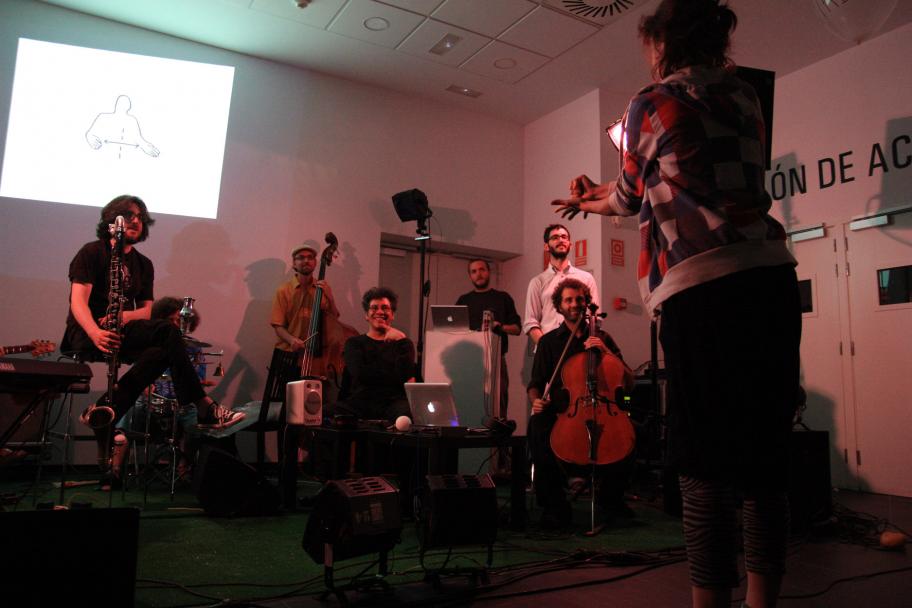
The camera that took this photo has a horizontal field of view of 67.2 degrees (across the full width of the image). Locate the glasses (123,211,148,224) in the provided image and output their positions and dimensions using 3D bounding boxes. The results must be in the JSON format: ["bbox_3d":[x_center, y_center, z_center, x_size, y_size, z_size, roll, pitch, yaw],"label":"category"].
[{"bbox_3d":[-2.188,-0.596,4.690,0.129,0.063,0.168,-2,-2,-19],"label":"glasses"}]

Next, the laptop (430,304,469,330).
[{"bbox_3d":[-0.057,0.125,6.484,0.342,0.227,0.193,1,-2,-8],"label":"laptop"}]

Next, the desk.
[{"bbox_3d":[-0.243,1.151,4.755,0.988,0.698,1.186,3,-3,-42],"label":"desk"}]

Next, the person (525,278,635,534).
[{"bbox_3d":[0.853,0.667,5.109,0.744,1.748,0.567,4,-21,-10],"label":"person"}]

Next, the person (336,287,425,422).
[{"bbox_3d":[-0.629,0.377,5.545,0.606,1.030,0.467,1,-2,-8],"label":"person"}]

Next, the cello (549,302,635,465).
[{"bbox_3d":[0.924,0.585,4.672,0.452,0.890,0.318,-2,-39,13],"label":"cello"}]

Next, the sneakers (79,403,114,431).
[{"bbox_3d":[-2.118,0.675,4.089,0.184,0.156,0.260,2,-2,-26],"label":"sneakers"}]

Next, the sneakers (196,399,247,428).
[{"bbox_3d":[-1.492,0.734,4.577,0.471,0.209,0.158,-2,-5,16],"label":"sneakers"}]

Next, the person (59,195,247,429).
[{"bbox_3d":[-2.808,0.374,6.354,0.919,1.556,0.821,-15,0,-19],"label":"person"}]

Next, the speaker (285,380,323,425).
[{"bbox_3d":[-1.090,0.710,4.969,0.193,0.338,0.294,2,-3,-28],"label":"speaker"}]

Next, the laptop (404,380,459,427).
[{"bbox_3d":[-0.162,0.703,4.738,0.350,0.251,0.297,-6,-22,22],"label":"laptop"}]
